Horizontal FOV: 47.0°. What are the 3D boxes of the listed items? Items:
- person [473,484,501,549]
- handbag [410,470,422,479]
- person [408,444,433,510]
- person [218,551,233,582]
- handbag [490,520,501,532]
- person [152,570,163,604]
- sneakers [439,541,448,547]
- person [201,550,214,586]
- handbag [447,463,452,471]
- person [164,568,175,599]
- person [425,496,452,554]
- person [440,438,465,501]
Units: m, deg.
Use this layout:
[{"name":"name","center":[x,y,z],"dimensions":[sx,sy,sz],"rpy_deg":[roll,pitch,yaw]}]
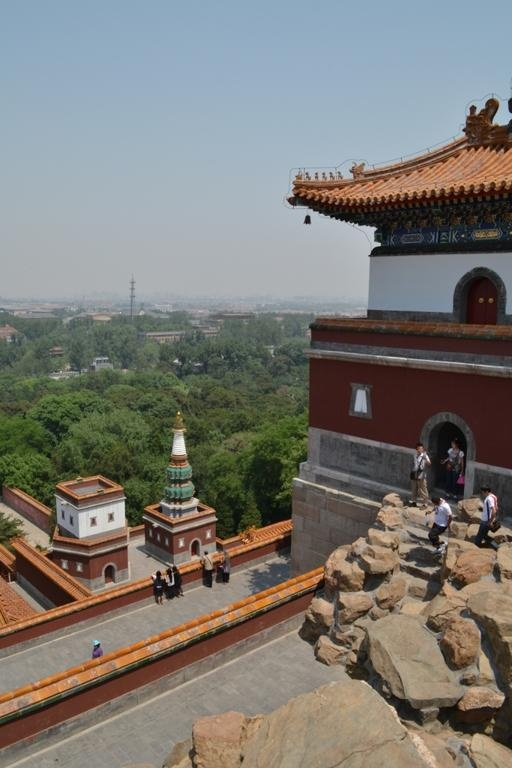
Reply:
[{"name":"person","center":[3.724,2.078,9.389],"dimensions":[0.357,0.993,0.300],"rpy_deg":[1,7,22]},{"name":"handbag","center":[3.167,1.745,11.496],"dimensions":[0.200,0.198,0.101],"rpy_deg":[1,6,15]},{"name":"person","center":[3.269,1.749,11.674],"dimensions":[0.385,1.294,0.649],"rpy_deg":[0,6,15]},{"name":"person","center":[-0.949,5.369,17.503],"dimensions":[0.343,1.147,0.756],"rpy_deg":[-2,6,-9]},{"name":"handbag","center":[3.842,2.227,9.366],"dimensions":[0.187,0.170,0.076],"rpy_deg":[-7,20,-28]},{"name":"person","center":[-2.783,5.735,16.815],"dimensions":[0.298,1.074,0.545],"rpy_deg":[-3,6,-15]},{"name":"sneakers","center":[3.295,2.755,10.257],"dimensions":[0.085,0.037,0.113],"rpy_deg":[-4,4,0]},{"name":"person","center":[-1.403,5.439,17.369],"dimensions":[0.339,0.987,0.829],"rpy_deg":[-2,6,-4]},{"name":"handbag","center":[3.947,1.645,11.878],"dimensions":[0.035,0.140,0.101],"rpy_deg":[3,1,-5]},{"name":"person","center":[-2.457,5.661,16.789],"dimensions":[0.284,1.044,0.581],"rpy_deg":[-2,6,-10]},{"name":"person","center":[3.285,2.334,10.406],"dimensions":[0.381,1.048,1.173],"rpy_deg":[1,6,17]},{"name":"person","center":[4.050,1.675,11.854],"dimensions":[0.359,1.279,0.864],"rpy_deg":[1,6,15]}]
